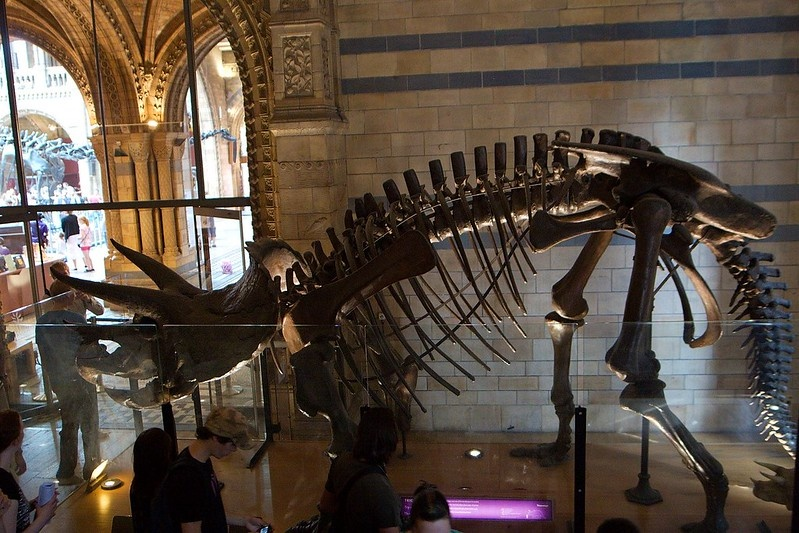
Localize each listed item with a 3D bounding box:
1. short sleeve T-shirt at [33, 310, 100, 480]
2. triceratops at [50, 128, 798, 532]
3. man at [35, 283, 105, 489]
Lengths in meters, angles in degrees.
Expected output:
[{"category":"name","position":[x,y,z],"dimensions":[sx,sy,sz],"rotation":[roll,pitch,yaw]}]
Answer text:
[{"category":"short sleeve T-shirt","position":[-2.797,1.100,6.920],"dimensions":[0.433,1.470,0.404],"rotation":[-20,-10,36]},{"category":"triceratops","position":[0.609,0.448,6.954],"dimensions":[5.618,3.338,2.201],"rotation":[-1,1,-7]},{"category":"man","position":[-2.902,0.960,7.100],"dimensions":[0.647,2.065,0.616],"rotation":[3,21,-12]}]
